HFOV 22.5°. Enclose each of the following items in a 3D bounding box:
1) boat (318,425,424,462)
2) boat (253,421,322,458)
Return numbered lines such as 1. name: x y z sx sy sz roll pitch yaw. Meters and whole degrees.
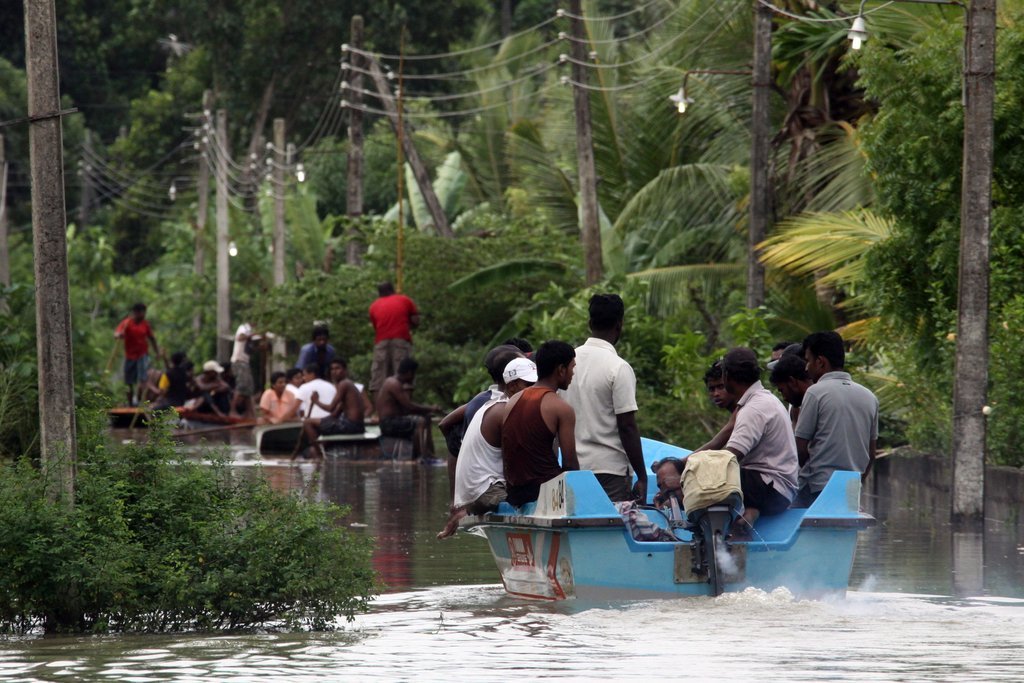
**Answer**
1. boat: -2.894 2.015 50.274 1.882 0.568 0.429 -2 -6 -22
2. boat: -4.520 1.870 50.395 1.091 0.674 1.523 -3 -6 -6
